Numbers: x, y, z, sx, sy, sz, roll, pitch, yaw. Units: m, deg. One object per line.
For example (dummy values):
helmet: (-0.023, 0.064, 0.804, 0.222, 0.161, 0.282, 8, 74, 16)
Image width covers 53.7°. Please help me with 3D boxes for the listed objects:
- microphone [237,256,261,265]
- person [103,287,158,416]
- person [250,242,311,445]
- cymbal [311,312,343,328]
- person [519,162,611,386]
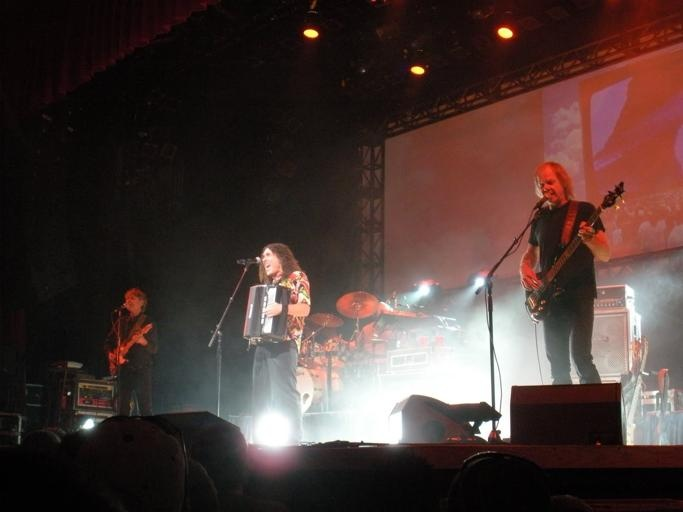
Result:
microphone: (-1.179, 0.053, 8.534, 0.111, 0.122, 0.406, 3, -1, 27)
person: (-2.700, 1.233, 8.805, 0.473, 1.646, 0.772, 12, -20, -35)
person: (-0.594, 0.806, 6.595, 0.539, 1.969, 0.520, -1, -16, 7)
cymbal: (-0.229, 1.035, 10.819, 0.315, 0.077, 0.325, 11, -43, 0)
person: (1.877, 0.129, 5.631, 0.578, 1.938, 0.725, 4, -16, -12)
